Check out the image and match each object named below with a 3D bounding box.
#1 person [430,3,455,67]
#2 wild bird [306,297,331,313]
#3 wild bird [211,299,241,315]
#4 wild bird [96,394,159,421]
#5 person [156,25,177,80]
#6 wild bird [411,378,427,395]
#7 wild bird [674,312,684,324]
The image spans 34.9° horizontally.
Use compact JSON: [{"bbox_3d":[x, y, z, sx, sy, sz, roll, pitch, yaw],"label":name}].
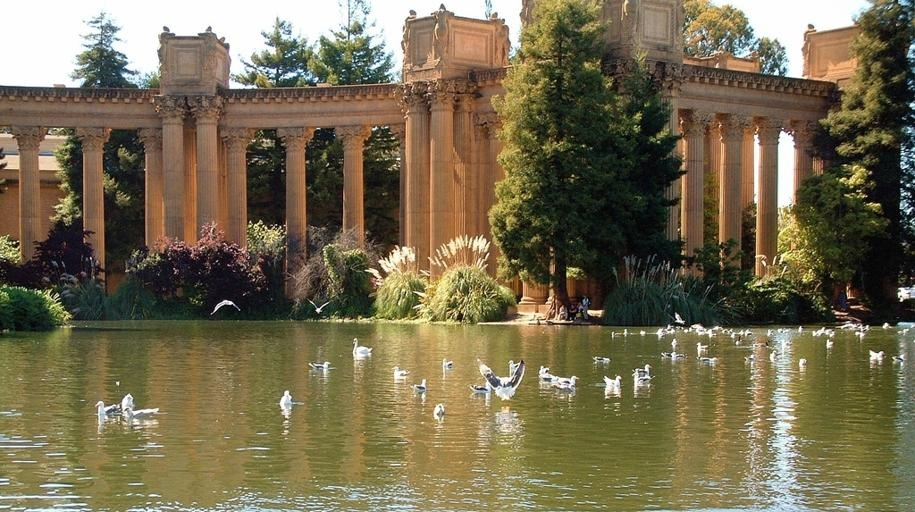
[{"bbox_3d":[-1.043,-12.655,85.027,0.850,3.456,1.259,-10,17,-33],"label":"person"},{"bbox_3d":[-7.925,2.867,81.454,1.439,0.704,0.545,8,16,35],"label":"wild bird"},{"bbox_3d":[-12.958,2.757,81.853,1.647,0.668,1.296,13,8,9],"label":"wild bird"},{"bbox_3d":[-12.300,5.676,53.448,1.249,0.602,1.524,-3,-3,9],"label":"wild bird"},{"bbox_3d":[-18.224,-12.252,90.447,0.808,3.131,0.868,-5,15,-15],"label":"person"},{"bbox_3d":[-1.504,5.102,56.224,0.298,0.663,0.924,1,-4,29],"label":"wild bird"},{"bbox_3d":[11.147,3.280,73.860,0.234,0.556,0.467,-24,20,-20],"label":"wild bird"}]
